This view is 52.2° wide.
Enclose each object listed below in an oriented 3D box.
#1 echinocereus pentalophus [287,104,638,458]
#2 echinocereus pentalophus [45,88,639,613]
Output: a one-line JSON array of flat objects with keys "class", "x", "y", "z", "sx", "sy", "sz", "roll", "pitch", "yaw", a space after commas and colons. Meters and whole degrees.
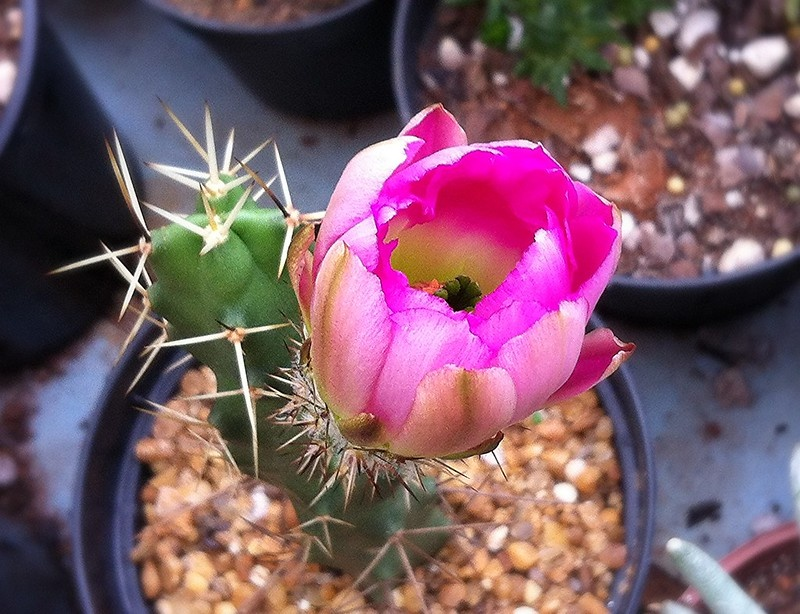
[{"class": "echinocereus pentalophus", "x": 0.044, "y": -0.018, "z": 0.683, "sx": 0.281, "sy": 0.135, "sz": 0.247, "roll": -34, "pitch": 79, "yaw": -10}, {"class": "echinocereus pentalophus", "x": -0.057, "y": 0.063, "z": 0.830, "sx": 0.455, "sy": 0.579, "sz": 0.279, "roll": 19, "pitch": 45, "yaw": 2}]
